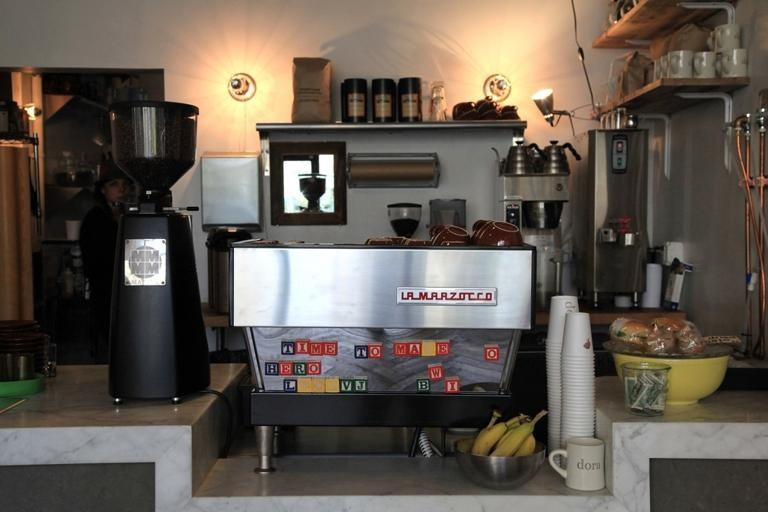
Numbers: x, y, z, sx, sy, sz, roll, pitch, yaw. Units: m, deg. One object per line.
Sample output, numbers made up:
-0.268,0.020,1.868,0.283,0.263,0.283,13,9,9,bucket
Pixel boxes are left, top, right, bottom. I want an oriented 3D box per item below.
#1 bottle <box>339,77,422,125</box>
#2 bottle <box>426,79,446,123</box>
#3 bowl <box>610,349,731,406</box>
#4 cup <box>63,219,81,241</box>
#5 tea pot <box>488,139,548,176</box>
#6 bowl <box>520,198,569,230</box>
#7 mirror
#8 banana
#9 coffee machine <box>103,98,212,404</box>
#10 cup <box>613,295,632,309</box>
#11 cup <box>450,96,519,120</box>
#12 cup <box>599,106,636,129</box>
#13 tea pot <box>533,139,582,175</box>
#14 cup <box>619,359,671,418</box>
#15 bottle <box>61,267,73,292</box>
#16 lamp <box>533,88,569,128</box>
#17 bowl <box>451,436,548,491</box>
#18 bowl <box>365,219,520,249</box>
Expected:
-0.013,-0.950,4.675,0.509,0.273,0.279,-1,7,0,bottle
0.331,-0.945,4.642,0.104,0.255,0.181,-1,7,2,bottle
1.049,0.427,2.751,0.453,0.214,0.436,-3,-4,0,bowl
-2.125,-0.173,5.128,0.142,0.159,0.125,1,-4,-4,cup
0.800,-0.567,4.493,0.321,0.198,0.225,-2,8,12,tea pot
0.950,-0.236,4.440,0.203,0.118,0.193,0,0,0,bowl
-0.502,-0.474,4.854,0.593,0.557,0.040,0,2,-3,mirror
0.428,0.604,2.554,0.243,0.128,0.122,-16,-24,6,banana
-0.827,-0.018,2.701,0.348,1.054,0.253,-3,7,-14,coffee machine
1.426,0.271,4.467,0.103,0.073,0.089,1,7,16,cup
0.629,-0.900,4.662,0.403,0.149,0.201,-1,7,2,cup
1.387,-0.812,4.456,0.117,0.131,0.191,-4,8,-32,cup
1.053,-0.582,4.523,0.372,0.196,0.243,-7,9,-41,tea pot
0.900,0.456,2.587,0.171,0.168,0.174,2,1,0,cup
-2.140,0.171,5.093,0.075,0.176,0.029,-2,7,-11,bottle
1.011,-0.855,4.507,0.205,0.208,0.125,-19,15,-8,lamp
0.387,0.707,2.588,0.345,0.137,0.337,2,-1,0,bowl
0.215,-0.079,2.660,0.529,0.083,0.341,0,7,4,bowl
